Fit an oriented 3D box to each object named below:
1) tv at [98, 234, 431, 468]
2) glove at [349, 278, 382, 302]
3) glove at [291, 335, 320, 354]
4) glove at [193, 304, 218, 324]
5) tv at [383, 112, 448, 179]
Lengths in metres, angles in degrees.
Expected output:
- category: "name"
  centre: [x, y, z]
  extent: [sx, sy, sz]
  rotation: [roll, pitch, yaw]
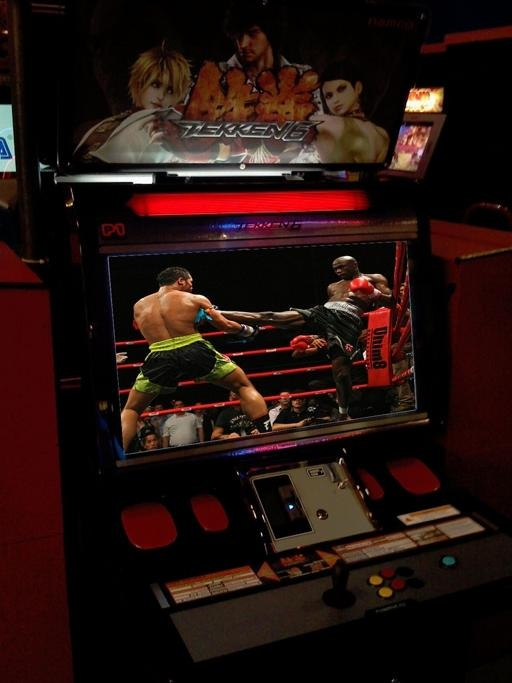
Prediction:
- category: "tv"
  centre: [-0.007, 0.023, 1.504]
  extent: [0.780, 0.419, 0.009]
  rotation: [-6, -2, -17]
- category: "glove"
  centre: [0.327, -0.154, 1.636]
  extent: [0.086, 0.056, 0.038]
  rotation: [9, 9, -2]
- category: "glove"
  centre: [0.144, 0.009, 1.548]
  extent: [0.051, 0.030, 0.070]
  rotation: [8, 11, 44]
- category: "glove"
  centre: [-0.141, -0.075, 1.470]
  extent: [0.035, 0.041, 0.071]
  rotation: [11, 14, -12]
- category: "tv"
  centre: [0.507, -0.634, 1.765]
  extent: [0.128, 0.210, 0.284]
  rotation: [-3, 29, -9]
